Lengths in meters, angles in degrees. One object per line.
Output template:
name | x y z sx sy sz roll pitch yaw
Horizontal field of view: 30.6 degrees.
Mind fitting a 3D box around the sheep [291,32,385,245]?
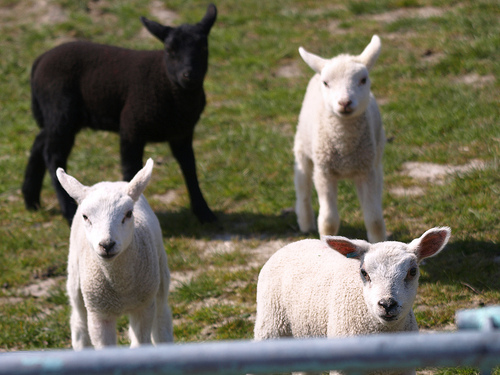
sheep | 1.323 -0.682 13.692 1.273 2.919 1.862 -3 0 -29

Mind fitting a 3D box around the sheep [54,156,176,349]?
sheep | -1.748 0.893 11.819 1.382 2.470 1.033 -3 0 -5
